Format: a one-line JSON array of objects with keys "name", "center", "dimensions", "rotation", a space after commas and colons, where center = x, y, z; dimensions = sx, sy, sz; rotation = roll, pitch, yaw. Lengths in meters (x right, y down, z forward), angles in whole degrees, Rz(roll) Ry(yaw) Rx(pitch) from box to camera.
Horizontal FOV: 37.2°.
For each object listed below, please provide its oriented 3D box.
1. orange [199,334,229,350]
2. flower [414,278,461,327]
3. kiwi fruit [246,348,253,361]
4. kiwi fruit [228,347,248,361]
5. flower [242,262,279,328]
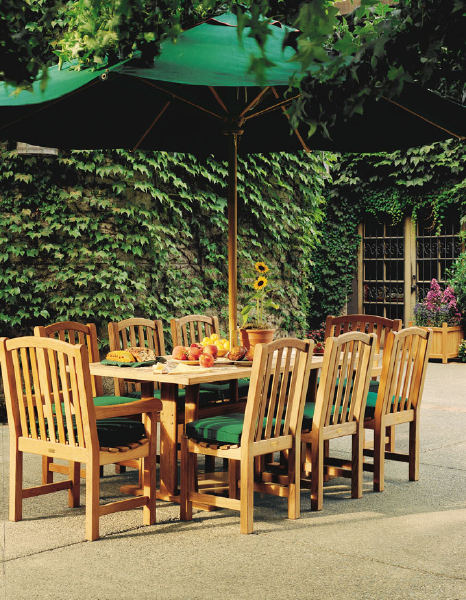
[{"name": "orange", "center": [-0.101, 0.240, 4.013], "dimensions": [0.115, 0.040, 0.108], "rotation": [-4, 10, -33]}, {"name": "flower", "center": [3.000, 0.089, 10.282], "dimensions": [0.686, 0.760, 0.900], "rotation": [4, 1, 21]}, {"name": "kiwi fruit", "center": [0.103, 0.291, 3.729], "dimensions": [0.034, 0.051, 0.043], "rotation": [23, -35, -35]}, {"name": "kiwi fruit", "center": [0.029, 0.286, 3.711], "dimensions": [0.068, 0.046, 0.085], "rotation": [-19, 3, -3]}, {"name": "flower", "center": [0.199, -0.033, 4.351], "dimensions": [0.243, 0.432, 0.200], "rotation": [6, 8, -20]}]
